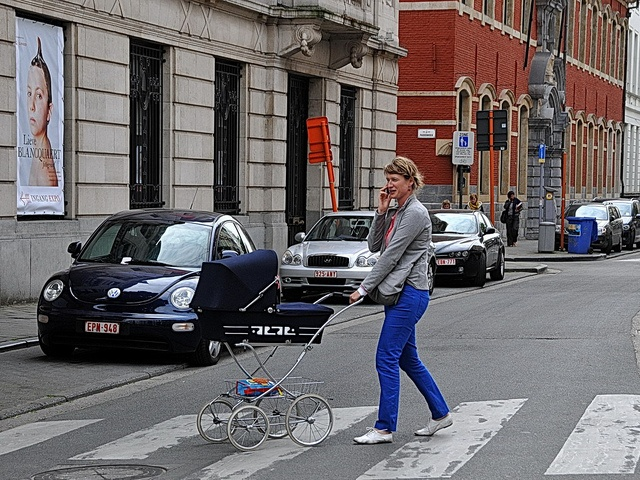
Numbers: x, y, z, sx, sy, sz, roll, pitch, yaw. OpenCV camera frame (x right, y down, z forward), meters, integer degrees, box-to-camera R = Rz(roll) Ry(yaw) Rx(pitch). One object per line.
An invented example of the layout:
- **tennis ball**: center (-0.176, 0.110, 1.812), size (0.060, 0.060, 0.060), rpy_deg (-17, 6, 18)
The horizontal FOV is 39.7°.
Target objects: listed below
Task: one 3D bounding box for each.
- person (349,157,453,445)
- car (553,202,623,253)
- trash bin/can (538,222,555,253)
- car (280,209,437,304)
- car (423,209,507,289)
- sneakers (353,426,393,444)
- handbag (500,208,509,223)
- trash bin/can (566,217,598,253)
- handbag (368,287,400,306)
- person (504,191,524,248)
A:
- **person**: center (0.636, 0.480, 7.472), size (0.850, 2.367, 0.422), rpy_deg (-1, 1, -28)
- **car**: center (10.234, -0.435, 33.147), size (1.575, 1.677, 2.997), rpy_deg (0, -3, 30)
- **trash bin/can**: center (7.971, -0.115, 30.951), size (0.590, 1.093, 0.623), rpy_deg (-6, 16, -13)
- **car**: center (0.551, 0.310, 17.680), size (1.432, 1.306, 3.106), rpy_deg (0, -2, 19)
- **car**: center (3.485, 0.133, 20.745), size (1.224, 1.009, 2.596), rpy_deg (-1, -3, 20)
- **sneakers**: center (0.443, 1.621, 7.312), size (0.337, 0.144, 0.123), rpy_deg (2, 0, -4)
- **handbag**: center (7.212, -0.893, 34.337), size (0.346, 0.785, 0.513), rpy_deg (3, -3, 6)
- **trash bin/can**: center (9.170, -0.193, 31.118), size (0.866, 1.308, 0.724), rpy_deg (3, 3, -21)
- **handbag**: center (0.536, 0.481, 7.385), size (0.266, 0.165, 0.166), rpy_deg (1, 2, 43)
- **person**: center (7.482, -0.810, 34.481), size (0.701, 2.134, 1.242), rpy_deg (0, 1, 12)
